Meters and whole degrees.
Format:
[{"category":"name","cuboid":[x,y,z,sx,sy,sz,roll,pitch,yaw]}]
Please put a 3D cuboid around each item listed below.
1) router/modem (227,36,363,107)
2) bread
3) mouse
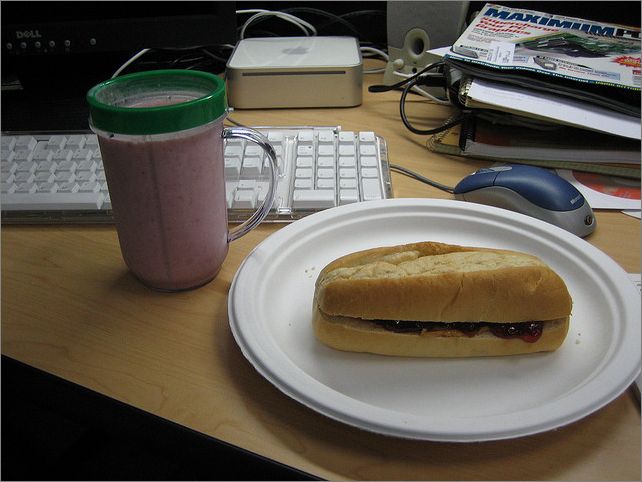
[{"category":"router/modem","cuboid":[-0.047,-0.297,0.952,0.226,0.051,0.190,0,29,-1]},{"category":"bread","cuboid":[0.120,0.046,0.609,0.192,0.104,0.227,-3,5,-20]},{"category":"mouse","cuboid":[0.256,-0.062,0.698,0.151,0.050,0.087,24,29,27]}]
